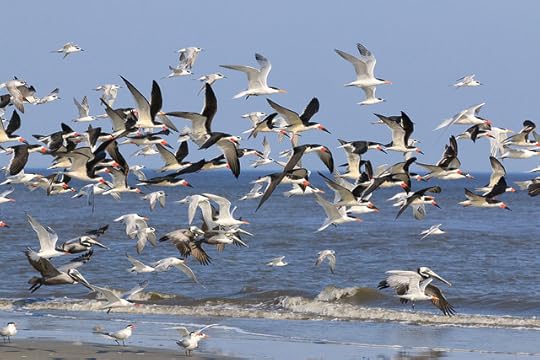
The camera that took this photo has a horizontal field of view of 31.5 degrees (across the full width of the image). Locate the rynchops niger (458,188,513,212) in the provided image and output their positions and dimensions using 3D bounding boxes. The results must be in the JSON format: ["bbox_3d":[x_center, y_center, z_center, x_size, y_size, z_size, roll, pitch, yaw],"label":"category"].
[{"bbox_3d":[10.382,1.048,46.522,2.212,0.517,2.567,15,20,24],"label":"rynchops niger"}]
